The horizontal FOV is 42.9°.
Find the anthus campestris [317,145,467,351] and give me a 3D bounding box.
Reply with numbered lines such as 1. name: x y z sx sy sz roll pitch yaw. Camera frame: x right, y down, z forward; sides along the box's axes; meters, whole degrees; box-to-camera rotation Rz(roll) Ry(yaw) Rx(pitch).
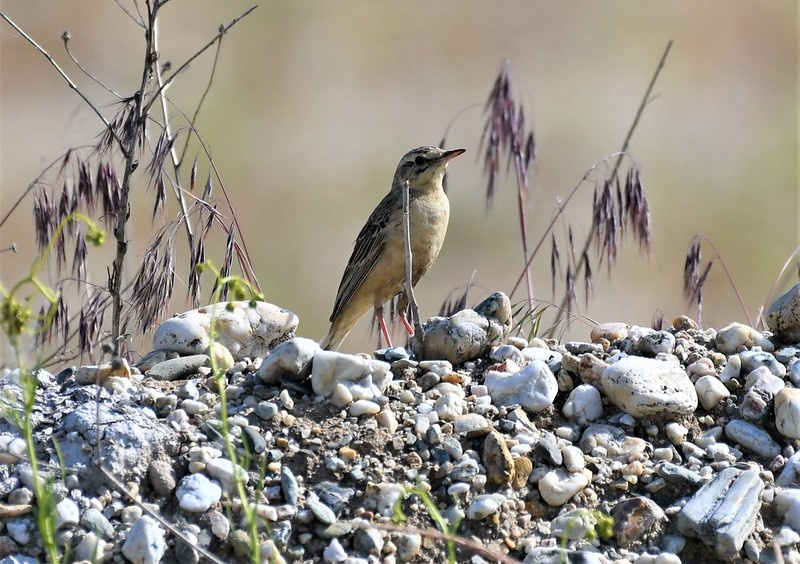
1. anthus campestris: -0.021 -0.172 5.994 0.443 1.236 0.941 19 -23 -20
